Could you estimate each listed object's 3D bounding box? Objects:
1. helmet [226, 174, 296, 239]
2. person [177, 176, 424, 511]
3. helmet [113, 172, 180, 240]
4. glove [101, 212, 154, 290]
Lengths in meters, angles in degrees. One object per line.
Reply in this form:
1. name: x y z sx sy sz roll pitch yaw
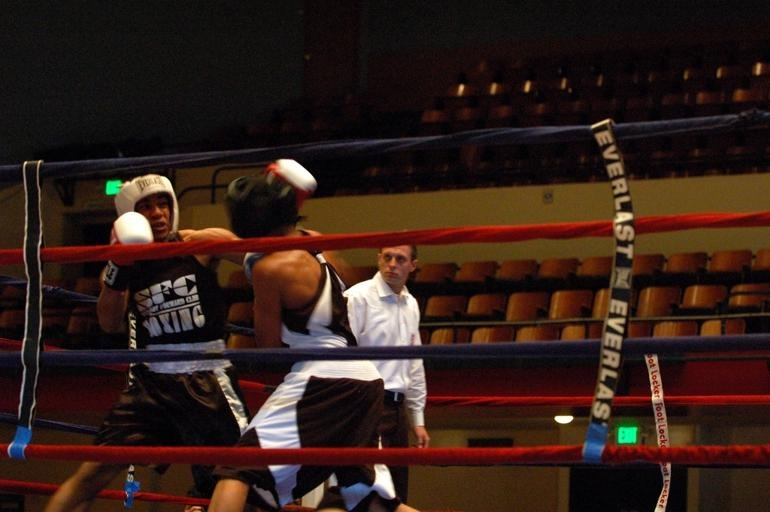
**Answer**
1. helmet: -0.588 -0.228 4.640 0.279 0.293 0.347 2 -6 11
2. person: -0.354 0.431 4.601 0.860 1.616 0.464 1 3 1
3. helmet: -1.236 -0.270 5.065 0.334 0.296 0.265 -39 -27 32
4. glove: -1.234 -0.028 4.753 0.293 0.367 0.144 10 5 11
